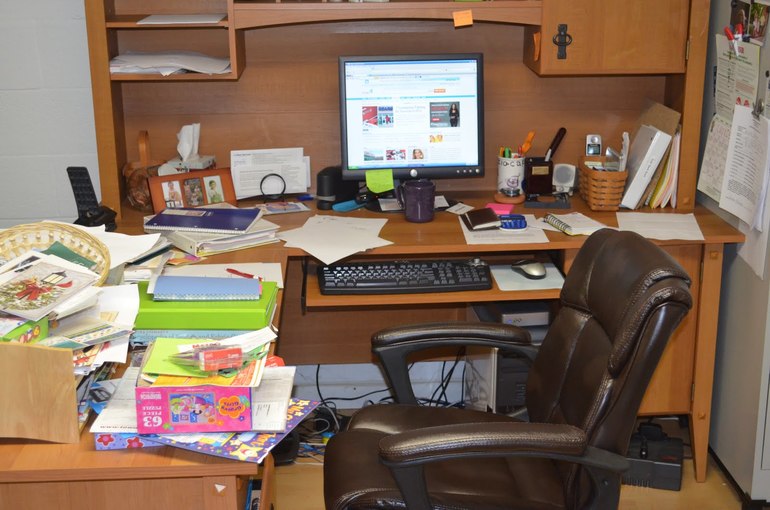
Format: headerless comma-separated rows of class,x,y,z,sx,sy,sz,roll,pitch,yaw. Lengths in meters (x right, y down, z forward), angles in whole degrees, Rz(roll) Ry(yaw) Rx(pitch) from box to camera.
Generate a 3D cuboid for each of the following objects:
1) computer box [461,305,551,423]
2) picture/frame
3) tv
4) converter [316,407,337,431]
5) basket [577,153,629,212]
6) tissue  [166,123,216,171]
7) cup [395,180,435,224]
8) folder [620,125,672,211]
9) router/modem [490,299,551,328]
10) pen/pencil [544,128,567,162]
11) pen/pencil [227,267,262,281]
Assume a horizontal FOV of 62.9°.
computer box,0.467,0.427,2.704,0.374,0.469,0.317,2,13,-2
picture/frame,-0.814,-0.278,2.686,0.325,0.195,0.034,-6,-19,-21
tv,0.103,-0.546,2.711,0.803,0.596,0.077,-1,12,-4
converter,-0.282,0.759,2.919,0.070,0.108,0.114,2,15,1
basket,0.891,-0.290,2.665,0.166,0.146,0.254,0,15,0
tissue ,-0.844,-0.462,2.758,0.161,0.214,0.139,6,20,14
cup,0.131,-0.229,2.687,0.183,0.162,0.178,-2,15,0
folder,1.069,-0.372,2.655,0.082,0.305,0.345,19,8,6
router/modem,0.552,0.233,2.537,0.154,0.032,0.138,-1,13,-4
pen/pencil,0.773,-0.511,2.886,0.028,0.193,0.028,29,23,-6
pen/pencil,-0.474,0.064,2.095,0.088,0.012,0.012,17,-2,5
